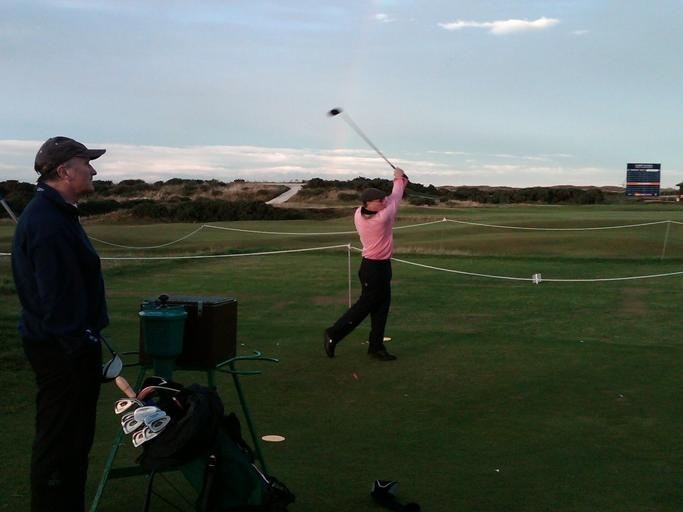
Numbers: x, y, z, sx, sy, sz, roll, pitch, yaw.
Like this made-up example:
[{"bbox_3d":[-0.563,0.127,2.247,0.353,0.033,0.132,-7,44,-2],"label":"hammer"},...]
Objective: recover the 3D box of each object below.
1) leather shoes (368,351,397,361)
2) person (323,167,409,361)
[{"bbox_3d":[0.572,1.343,8.293,0.386,0.101,0.128,0,2,14],"label":"leather shoes"},{"bbox_3d":[0.340,0.103,8.447,1.116,2.573,0.972,-1,13,5],"label":"person"}]
